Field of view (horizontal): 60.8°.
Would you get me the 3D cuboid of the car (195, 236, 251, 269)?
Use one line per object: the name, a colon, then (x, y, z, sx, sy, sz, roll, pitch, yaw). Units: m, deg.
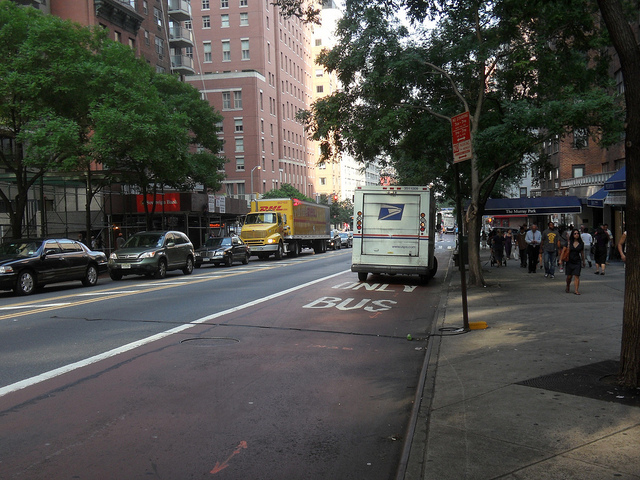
car: (-5.517, 0.703, 33.154, 1.487, 1.100, 3.242, -2, -5, 11)

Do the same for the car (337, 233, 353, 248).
car: (2.690, 0.080, 60.711, 1.330, 1.229, 2.544, 0, -7, 4)

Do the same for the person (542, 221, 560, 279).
person: (8.410, 0.378, 19.917, 0.570, 1.955, 1.040, -2, 1, 23)

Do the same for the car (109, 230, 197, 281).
car: (-7.363, 0.651, 24.391, 1.879, 1.761, 3.709, -2, 1, 20)

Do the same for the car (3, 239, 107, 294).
car: (-9.219, 0.955, 18.888, 1.476, 1.335, 3.923, -4, -5, 19)

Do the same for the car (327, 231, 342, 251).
car: (1.356, 0.141, 54.754, 1.665, 1.827, 4.126, -1, -4, 4)

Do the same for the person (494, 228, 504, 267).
person: (8.785, 0.481, 26.927, 0.394, 1.594, 0.795, -2, 1, 15)

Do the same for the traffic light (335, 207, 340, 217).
traffic light: (3.458, -5.577, 108.501, 0.659, 1.619, 0.753, -3, 1, -29)
